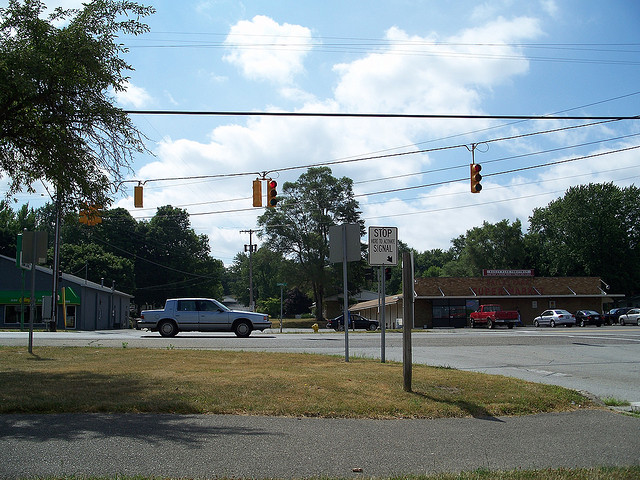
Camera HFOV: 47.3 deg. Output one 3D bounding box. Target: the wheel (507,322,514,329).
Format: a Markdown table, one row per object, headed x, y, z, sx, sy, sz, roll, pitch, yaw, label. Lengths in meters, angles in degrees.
| x | y | z | sx | sy | sz | roll | pitch | yaw | label |
| --- | --- | --- | --- | --- | --- | --- | --- | --- | --- |
| 13.945 | 6.218 | 53.567 | 0.538 | 0.586 | 0.215 | 0 | 1 | 9 | wheel |

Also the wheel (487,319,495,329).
| x | y | z | sx | sy | sz | roll | pitch | yaw | label |
| --- | --- | --- | --- | --- | --- | --- | --- | --- | --- |
| 12.640 | 6.171 | 53.895 | 0.207 | 0.669 | 0.639 | 5 | -5 | -18 | wheel |

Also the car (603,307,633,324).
| x | y | z | sx | sy | sz | roll | pitch | yaw | label |
| --- | --- | --- | --- | --- | --- | --- | --- | --- | --- |
| 25.296 | 6.411 | 61.830 | 2.653 | 1.073 | 1.386 | -6 | -3 | 9 | car |

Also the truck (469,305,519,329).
| x | y | z | sx | sy | sz | roll | pitch | yaw | label |
| --- | --- | --- | --- | --- | --- | --- | --- | --- | --- |
| 13.246 | 5.840 | 55.371 | 2.178 | 1.629 | 3.822 | 2 | -2 | -14 | truck |

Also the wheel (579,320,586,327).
| x | y | z | sx | sy | sz | roll | pitch | yaw | label |
| --- | --- | --- | --- | --- | --- | --- | --- | --- | --- |
| 19.391 | 6.090 | 53.863 | 0.172 | 0.564 | 0.539 | -4 | 4 | -7 | wheel |

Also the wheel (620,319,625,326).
| x | y | z | sx | sy | sz | roll | pitch | yaw | label |
| --- | --- | --- | --- | --- | --- | --- | --- | --- | --- |
| 24.151 | 6.507 | 58.246 | 0.135 | 0.436 | 0.435 | -1 | -30 | -8 | wheel |

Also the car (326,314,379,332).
| x | y | z | sx | sy | sz | roll | pitch | yaw | label |
| --- | --- | --- | --- | --- | --- | --- | --- | --- | --- |
| 2.282 | 5.745 | 50.963 | 3.316 | 1.241 | 2.977 | 1 | -2 | 6 | car |

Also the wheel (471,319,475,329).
| x | y | z | sx | sy | sz | roll | pitch | yaw | label |
| --- | --- | --- | --- | --- | --- | --- | --- | --- | --- |
| 11.946 | 6.506 | 57.098 | 0.245 | 0.812 | 0.777 | 2 | 3 | 0 | wheel |

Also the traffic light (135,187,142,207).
| x | y | z | sx | sy | sz | roll | pitch | yaw | label |
| --- | --- | --- | --- | --- | --- | --- | --- | --- | --- |
| -6.482 | -1.523 | 25.963 | 0.217 | 0.668 | 0.348 | 2 | -1 | -18 | traffic light |

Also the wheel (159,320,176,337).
| x | y | z | sx | sy | sz | roll | pitch | yaw | label |
| --- | --- | --- | --- | --- | --- | --- | --- | --- | --- |
| -6.287 | 3.597 | 30.024 | 0.601 | 0.650 | 0.224 | 2 | -10 | 6 | wheel |

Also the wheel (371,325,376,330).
| x | y | z | sx | sy | sz | roll | pitch | yaw | label |
| --- | --- | --- | --- | --- | --- | --- | --- | --- | --- |
| 3.721 | 6.103 | 51.395 | 0.350 | 0.317 | 0.349 | 1 | -2 | 0 | wheel |

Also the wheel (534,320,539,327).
| x | y | z | sx | sy | sz | roll | pitch | yaw | label |
| --- | --- | --- | --- | --- | --- | --- | --- | --- | --- |
| 16.728 | 6.427 | 56.352 | 0.180 | 0.597 | 0.570 | 1 | 4 | -3 | wheel |

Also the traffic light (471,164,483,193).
| x | y | z | sx | sy | sz | roll | pitch | yaw | label |
| --- | --- | --- | --- | --- | --- | --- | --- | --- | --- |
| 5.567 | -2.218 | 26.070 | 0.335 | 1.001 | 0.571 | 1 | -1 | 11 | traffic light |

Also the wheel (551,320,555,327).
| x | y | z | sx | sy | sz | roll | pitch | yaw | label |
| --- | --- | --- | --- | --- | --- | --- | --- | --- | --- |
| 17.302 | 6.146 | 54.260 | 0.162 | 0.487 | 0.512 | 1 | -2 | -11 | wheel |

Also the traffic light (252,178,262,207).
| x | y | z | sx | sy | sz | roll | pitch | yaw | label |
| --- | --- | --- | --- | --- | --- | --- | --- | --- | --- |
| -2.218 | -1.650 | 25.622 | 0.211 | 0.963 | 0.585 | 1 | -1 | 1 | traffic light |

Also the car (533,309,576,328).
| x | y | z | sx | sy | sz | roll | pitch | yaw | label |
| --- | --- | --- | --- | --- | --- | --- | --- | --- | --- |
| 17.598 | 5.891 | 54.789 | 1.563 | 1.305 | 2.953 | 2 | -2 | -17 | car |

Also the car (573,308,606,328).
| x | y | z | sx | sy | sz | roll | pitch | yaw | label |
| --- | --- | --- | --- | --- | --- | --- | --- | --- | --- |
| 19.844 | 5.732 | 54.980 | 1.281 | 1.039 | 3.045 | -1 | -2 | -1 | car |

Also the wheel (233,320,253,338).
| x | y | z | sx | sy | sz | roll | pitch | yaw | label |
| --- | --- | --- | --- | --- | --- | --- | --- | --- | --- |
| -3.256 | 3.663 | 30.523 | 0.660 | 0.714 | 0.248 | 2 | -7 | -3 | wheel |
